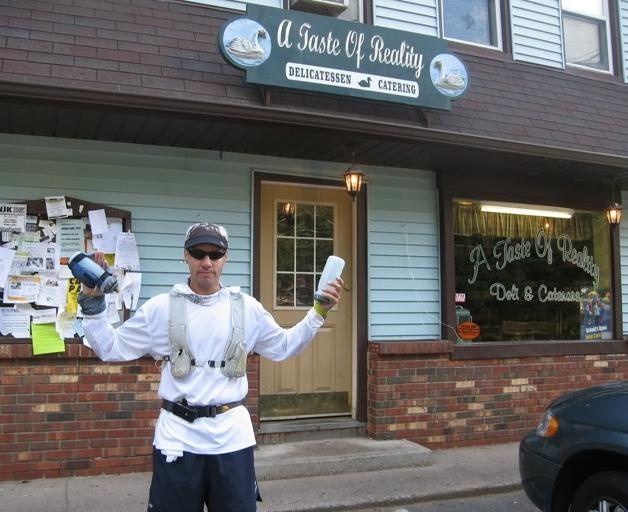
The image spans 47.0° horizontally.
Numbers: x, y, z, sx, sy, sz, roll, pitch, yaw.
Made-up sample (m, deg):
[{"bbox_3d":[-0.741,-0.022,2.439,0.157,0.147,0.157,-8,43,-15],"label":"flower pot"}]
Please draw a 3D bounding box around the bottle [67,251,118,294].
[{"bbox_3d":[-1.427,0.109,4.645,0.298,0.257,0.070,-1,-3,0],"label":"bottle"}]

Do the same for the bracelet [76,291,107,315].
[{"bbox_3d":[-1.432,0.295,4.682,0.146,0.142,0.149,0,6,37],"label":"bracelet"}]

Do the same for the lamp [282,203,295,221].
[{"bbox_3d":[-0.302,-0.536,8.869,0.175,0.225,0.179,-2,-9,7],"label":"lamp"}]

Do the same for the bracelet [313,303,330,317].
[{"bbox_3d":[0.048,0.370,5.020,0.084,0.100,0.081,-45,-17,18],"label":"bracelet"}]

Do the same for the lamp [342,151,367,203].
[{"bbox_3d":[0.506,-0.951,8.708,0.243,0.520,0.750,-2,-4,4],"label":"lamp"}]

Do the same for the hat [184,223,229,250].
[{"bbox_3d":[-0.750,-0.130,5.026,0.343,0.219,0.484,4,-1,-10],"label":"hat"}]
